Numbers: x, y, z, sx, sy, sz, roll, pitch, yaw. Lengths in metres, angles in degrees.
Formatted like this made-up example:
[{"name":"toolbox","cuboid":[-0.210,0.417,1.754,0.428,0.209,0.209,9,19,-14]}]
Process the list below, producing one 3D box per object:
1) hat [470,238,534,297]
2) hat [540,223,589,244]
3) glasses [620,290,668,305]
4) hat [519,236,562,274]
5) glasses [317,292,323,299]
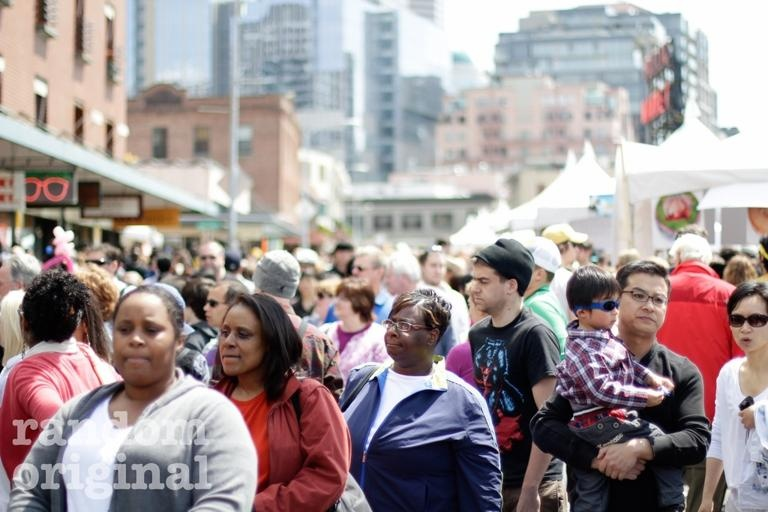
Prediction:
[{"name":"hat","cuboid":[1.225,0.073,13.683,0.608,0.532,0.455,20,0,-5]},{"name":"hat","cuboid":[2.272,-0.247,17.180,0.493,0.184,0.311,-3,9,-13]},{"name":"glasses","cuboid":[2.479,0.404,13.242,0.398,0.154,0.063,-1,-8,0]},{"name":"hat","cuboid":[1.762,-0.013,15.283,0.450,0.259,0.320,29,4,15]},{"name":"glasses","cuboid":[-0.854,0.542,18.467,0.078,0.077,0.080,3,-7,-11]}]
